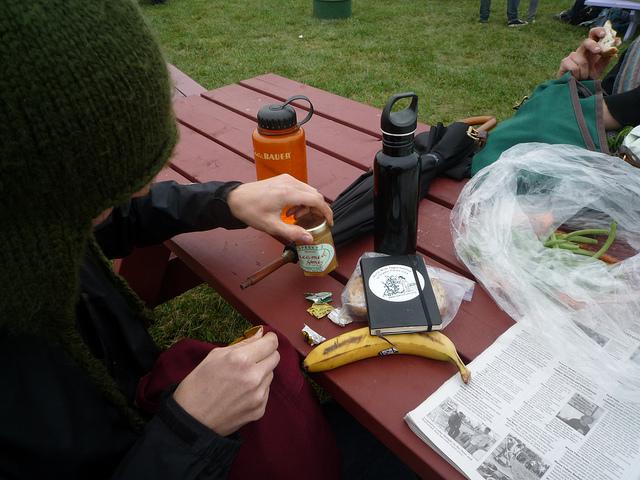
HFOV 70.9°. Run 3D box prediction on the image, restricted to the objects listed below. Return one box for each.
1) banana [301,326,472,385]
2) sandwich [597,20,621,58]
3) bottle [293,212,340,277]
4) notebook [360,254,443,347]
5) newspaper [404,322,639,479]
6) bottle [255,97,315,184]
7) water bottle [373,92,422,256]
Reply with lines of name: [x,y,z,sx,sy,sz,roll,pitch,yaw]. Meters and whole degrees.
banana: [0.146,0.268,1.035,0.380,0.073,0.210,-6,15,15]
sandwich: [1.112,-0.788,1.755,0.027,0.063,0.110,-21,36,13]
bottle: [-0.017,0.016,1.245,0.098,0.159,0.107,-3,27,2]
notebook: [0.192,0.132,1.134,0.174,0.046,0.234,-3,43,-5]
newspaper: [0.450,0.385,0.940,0.422,0.035,0.354,-28,48,-24]
bottle: [-0.118,-0.275,1.512,0.145,0.464,0.168,27,58,20]
water bottle: [0.201,-0.137,1.168,0.128,0.469,0.186,4,42,11]
